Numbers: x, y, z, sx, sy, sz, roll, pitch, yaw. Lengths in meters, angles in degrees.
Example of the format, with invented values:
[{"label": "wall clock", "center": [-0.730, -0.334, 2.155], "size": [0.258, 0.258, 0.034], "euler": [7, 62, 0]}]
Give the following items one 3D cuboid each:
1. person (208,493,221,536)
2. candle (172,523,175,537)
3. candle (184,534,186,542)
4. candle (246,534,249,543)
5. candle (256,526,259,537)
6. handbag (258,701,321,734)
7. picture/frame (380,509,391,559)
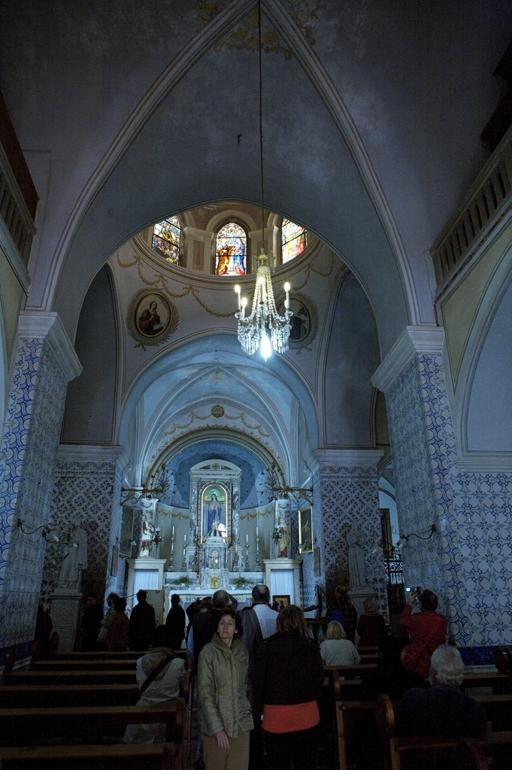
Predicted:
[{"label": "person", "center": [-1.968, 5.876, 19.714], "size": [0.503, 1.795, 0.926], "euler": [2, -22, -7]}, {"label": "candle", "center": [-3.836, 6.533, 19.533], "size": [0.044, 0.420, 0.160], "euler": [-14, -25, 32]}, {"label": "candle", "center": [-3.303, 6.915, 19.661], "size": [0.107, 0.306, 0.243], "euler": [4, -23, -12]}, {"label": "candle", "center": [-0.486, 7.009, 19.778], "size": [0.147, 0.388, 0.031], "euler": [-4, -21, 10]}, {"label": "candle", "center": [-0.016, 6.594, 19.565], "size": [0.162, 0.387, 0.039], "euler": [-16, -26, 35]}, {"label": "handbag", "center": [0.173, 1.692, 2.210], "size": [0.285, 0.145, 0.170], "euler": [-1, -23, 0]}, {"label": "picture/frame", "center": [4.794, 5.303, 15.772], "size": [0.297, 1.794, 1.729], "euler": [-7, -23, 17]}]
